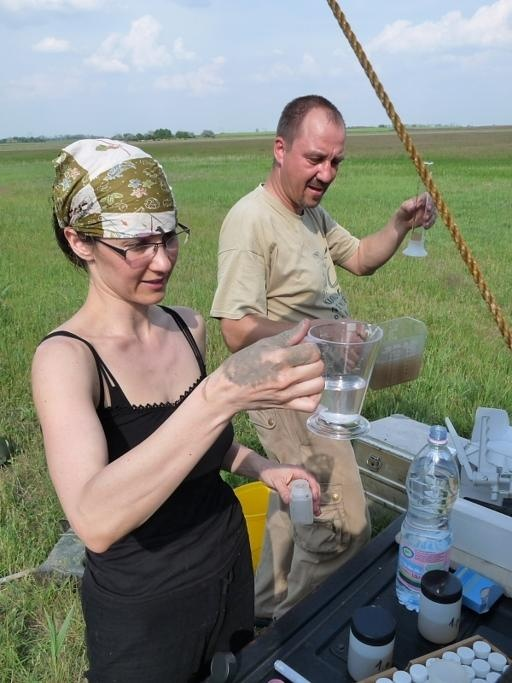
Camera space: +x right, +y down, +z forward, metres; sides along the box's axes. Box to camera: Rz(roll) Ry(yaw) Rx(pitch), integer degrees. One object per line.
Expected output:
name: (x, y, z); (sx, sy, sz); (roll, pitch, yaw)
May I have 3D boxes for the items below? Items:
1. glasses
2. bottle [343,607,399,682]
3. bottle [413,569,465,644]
glasses: (-0.288, -0.252, 1.595); (0.105, 0.078, 0.241); (3, 12, 39)
bottle: (0.273, 0.708, 1.405); (0.135, 0.138, 0.116); (-7, 10, -8)
bottle: (0.458, 0.668, 1.515); (0.107, 0.137, 0.103); (3, 14, -1)
